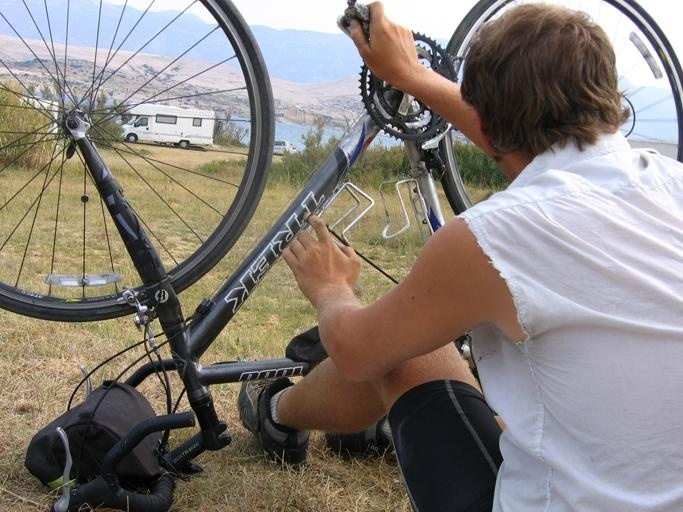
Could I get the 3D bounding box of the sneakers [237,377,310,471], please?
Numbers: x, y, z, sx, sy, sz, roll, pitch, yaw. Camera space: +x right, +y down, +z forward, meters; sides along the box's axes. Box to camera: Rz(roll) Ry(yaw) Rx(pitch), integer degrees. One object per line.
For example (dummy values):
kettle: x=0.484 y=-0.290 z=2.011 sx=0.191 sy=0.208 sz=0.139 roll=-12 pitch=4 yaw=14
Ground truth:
sneakers: x=-0.274 y=0.560 z=2.201 sx=0.169 sy=0.242 sz=0.486 roll=6 pitch=14 yaw=-29

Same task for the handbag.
handbag: x=-0.804 y=0.594 z=1.889 sx=0.415 sy=0.329 sz=0.264 roll=-3 pitch=20 yaw=-23
